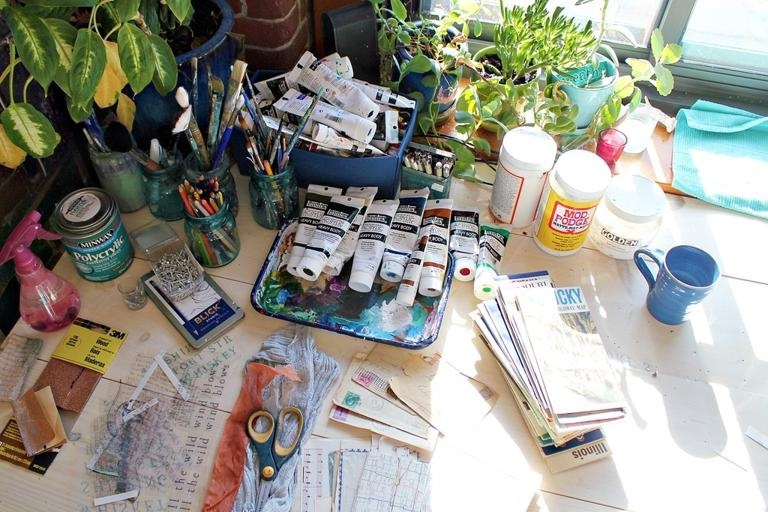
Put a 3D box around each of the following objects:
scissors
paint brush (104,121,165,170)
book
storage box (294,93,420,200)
[{"bbox_3d":[-0.169,0.303,0.843,0.078,0.020,0.134,1,64,-2],"label":"scissors"},{"bbox_3d":[-0.445,-0.192,1.038,0.042,0.127,0.039,-21,38,26],"label":"paint brush"},{"bbox_3d":[-0.554,0.262,0.892,0.072,0.029,0.097,-18,71,-12],"label":"book"},{"bbox_3d":[-0.064,-0.186,1.138,0.249,0.170,0.143,8,73,4],"label":"storage box"}]
